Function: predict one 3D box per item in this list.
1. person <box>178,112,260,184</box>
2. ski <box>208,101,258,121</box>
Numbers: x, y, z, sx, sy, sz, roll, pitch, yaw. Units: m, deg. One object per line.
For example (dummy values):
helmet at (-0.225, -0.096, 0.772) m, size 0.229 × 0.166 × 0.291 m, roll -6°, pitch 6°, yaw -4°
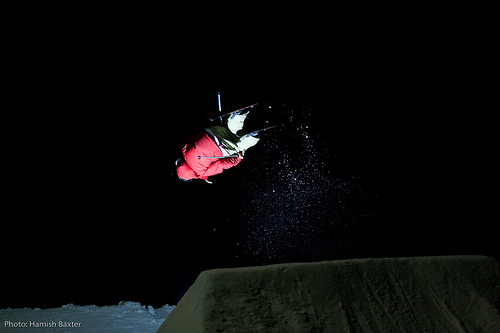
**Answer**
person at (-0.237, -0.167, 4.033) m, size 0.696 × 0.254 × 0.395 m, roll -34°, pitch 95°, yaw 11°
ski at (-0.142, -0.443, 4.028) m, size 0.308 × 0.040 × 0.070 m, roll -21°, pitch 69°, yaw -3°
